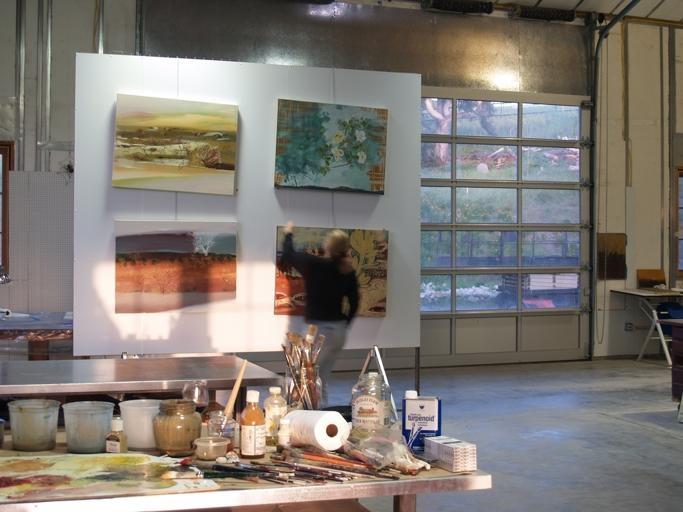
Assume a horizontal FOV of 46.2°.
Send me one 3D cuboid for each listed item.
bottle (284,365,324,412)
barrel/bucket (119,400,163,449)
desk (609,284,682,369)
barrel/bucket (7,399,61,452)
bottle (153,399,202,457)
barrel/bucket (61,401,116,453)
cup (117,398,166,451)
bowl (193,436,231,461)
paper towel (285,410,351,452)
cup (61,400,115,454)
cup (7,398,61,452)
[{"bbox_3d":[-0.227,0.814,4.801,0.217,0.232,0.219,0,-7,-3],"label":"bottle"},{"bbox_3d":[-1.108,0.958,4.599,0.252,0.274,0.255,0,-5,0],"label":"barrel/bucket"},{"bbox_3d":[4.535,1.066,11.967,1.249,0.941,1.026,1,-1,-33],"label":"desk"},{"bbox_3d":[-1.738,0.954,4.538,0.285,0.224,0.259,0,-2,0],"label":"barrel/bucket"},{"bbox_3d":[-0.912,0.973,4.463,0.254,0.313,0.278,-2,-9,11],"label":"bottle"},{"bbox_3d":[-1.423,0.959,4.495,0.250,0.209,0.270,1,-5,0],"label":"barrel/bucket"},{"bbox_3d":[-1.147,0.954,4.537,0.257,0.279,0.260,0,-5,0],"label":"cup"},{"bbox_3d":[-0.715,1.058,4.419,0.136,0.060,0.131,1,-1,0],"label":"bowl"},{"bbox_3d":[-0.135,0.919,4.475,0.324,0.218,0.223,-5,-13,38],"label":"paper towel"},{"bbox_3d":[-1.436,0.961,4.497,0.240,0.213,0.277,1,-7,8],"label":"cup"},{"bbox_3d":[-1.742,0.953,4.534,0.285,0.224,0.259,0,-2,0],"label":"cup"}]
